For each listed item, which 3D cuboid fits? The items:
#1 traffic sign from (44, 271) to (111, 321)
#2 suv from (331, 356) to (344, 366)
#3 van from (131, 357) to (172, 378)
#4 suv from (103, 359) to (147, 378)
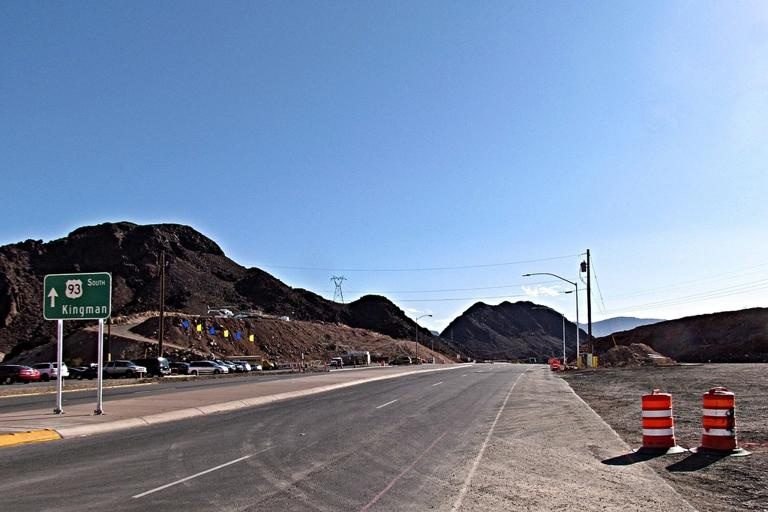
[{"bbox_3d":[-13.978,1.776,21.038,2.821,2.593,1.871,-14,-13,37],"label":"traffic sign"},{"bbox_3d":[-9.729,21.693,95.463,2.198,1.801,3.689,0,-14,2],"label":"suv"},{"bbox_3d":[-27.773,13.098,55.070,4.009,2.041,2.463,2,-5,19],"label":"van"},{"bbox_3d":[-29.712,12.950,52.741,5.695,2.086,2.272,-11,-12,21],"label":"suv"}]
